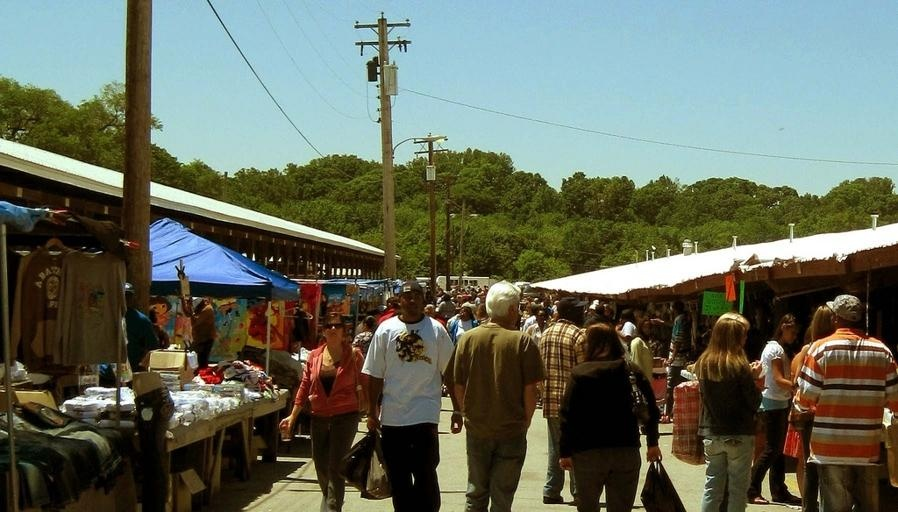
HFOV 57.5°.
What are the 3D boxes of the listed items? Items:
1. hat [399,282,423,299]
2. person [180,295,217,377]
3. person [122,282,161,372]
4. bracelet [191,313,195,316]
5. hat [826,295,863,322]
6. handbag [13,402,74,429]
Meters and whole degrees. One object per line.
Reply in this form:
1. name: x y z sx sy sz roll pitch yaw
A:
1. hat: -0.443 0.410 9.624 0.203 0.115 0.196 4 -5 -37
2. person: -4.125 1.308 13.733 0.401 1.144 0.411 4 -5 -15
3. person: -4.342 1.013 11.549 0.447 1.217 0.888 4 -6 -22
4. bracelet: -4.439 1.029 14.157 0.022 0.039 0.103 -29 -10 -12
5. hat: 4.736 0.628 9.860 0.296 0.205 0.381 -10 24 -20
6. handbag: -4.900 1.940 9.835 0.437 0.122 0.304 19 9 10
